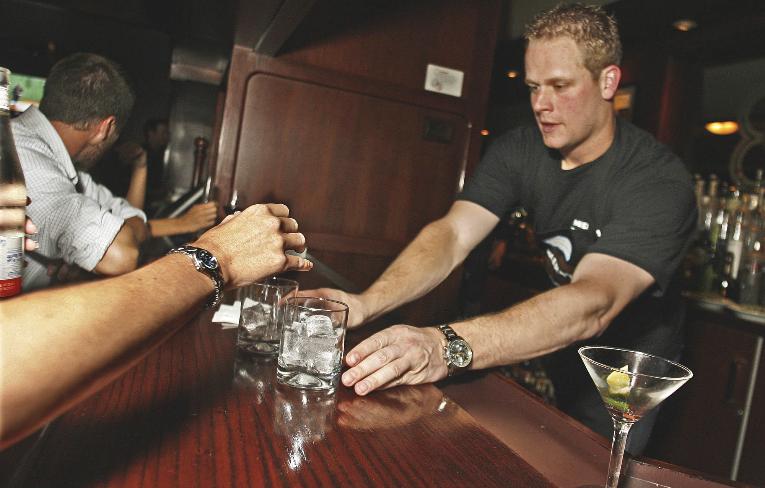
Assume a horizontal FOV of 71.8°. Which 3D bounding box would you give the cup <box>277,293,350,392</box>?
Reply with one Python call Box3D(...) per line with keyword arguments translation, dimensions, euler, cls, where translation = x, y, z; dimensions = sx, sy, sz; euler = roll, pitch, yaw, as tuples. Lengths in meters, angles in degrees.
Box3D(translation=(-0.215, 0.284, 1.670), dimensions=(0.241, 0.290, 0.253), euler=(7, 11, -1), cls="cup")
